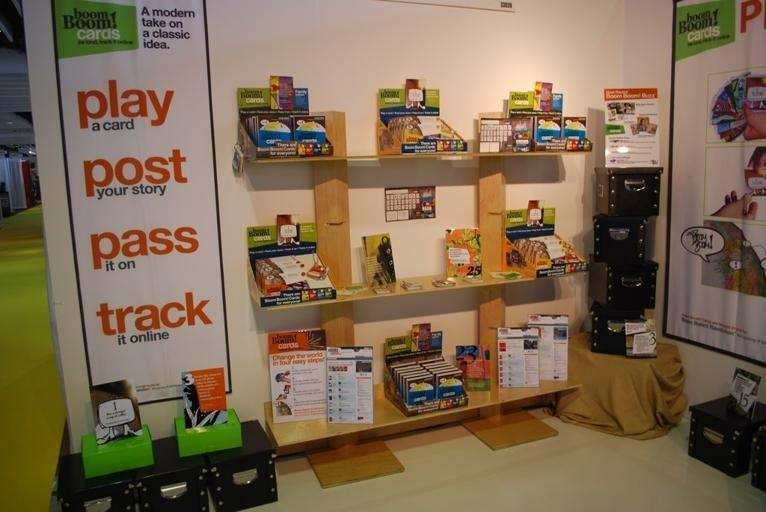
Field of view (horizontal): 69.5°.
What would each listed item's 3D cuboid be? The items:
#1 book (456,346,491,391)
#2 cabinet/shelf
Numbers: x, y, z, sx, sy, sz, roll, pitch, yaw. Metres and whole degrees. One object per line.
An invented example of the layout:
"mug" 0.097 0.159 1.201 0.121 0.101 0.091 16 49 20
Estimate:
"book" 0.852 1.063 5.190 0.396 0.488 0.158 -2 2 -14
"cabinet/shelf" 0.151 0.439 4.968 3.031 2.854 0.831 -4 8 -21
